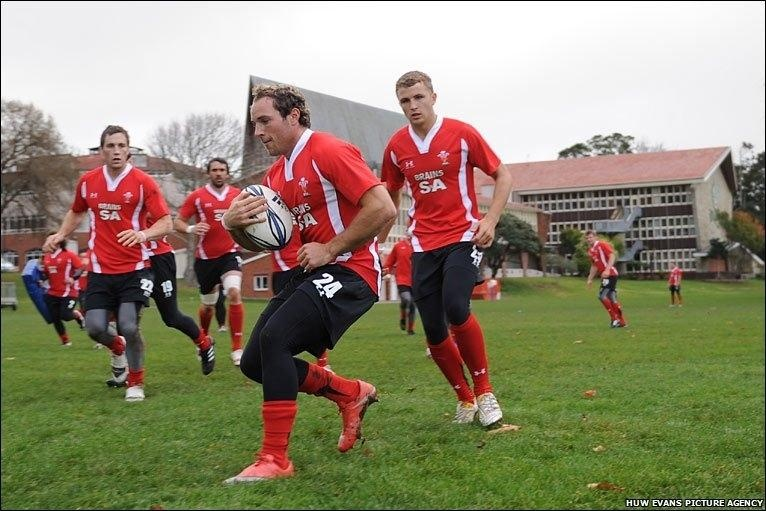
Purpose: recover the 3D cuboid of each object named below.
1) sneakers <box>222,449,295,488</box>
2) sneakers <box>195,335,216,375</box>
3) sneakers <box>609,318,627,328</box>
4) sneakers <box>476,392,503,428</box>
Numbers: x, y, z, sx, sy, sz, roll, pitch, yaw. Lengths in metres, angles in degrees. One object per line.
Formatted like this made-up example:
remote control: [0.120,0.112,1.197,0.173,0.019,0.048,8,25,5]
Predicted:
sneakers: [-0.859,1.486,4.010,0.379,0.129,0.199,2,-15,-13]
sneakers: [-2.419,1.343,7.888,0.196,0.550,0.264,-7,-2,45]
sneakers: [4.985,1.436,12.242,0.371,0.148,0.127,7,-12,-23]
sneakers: [0.955,1.327,5.164,0.191,0.190,0.457,-17,14,6]
